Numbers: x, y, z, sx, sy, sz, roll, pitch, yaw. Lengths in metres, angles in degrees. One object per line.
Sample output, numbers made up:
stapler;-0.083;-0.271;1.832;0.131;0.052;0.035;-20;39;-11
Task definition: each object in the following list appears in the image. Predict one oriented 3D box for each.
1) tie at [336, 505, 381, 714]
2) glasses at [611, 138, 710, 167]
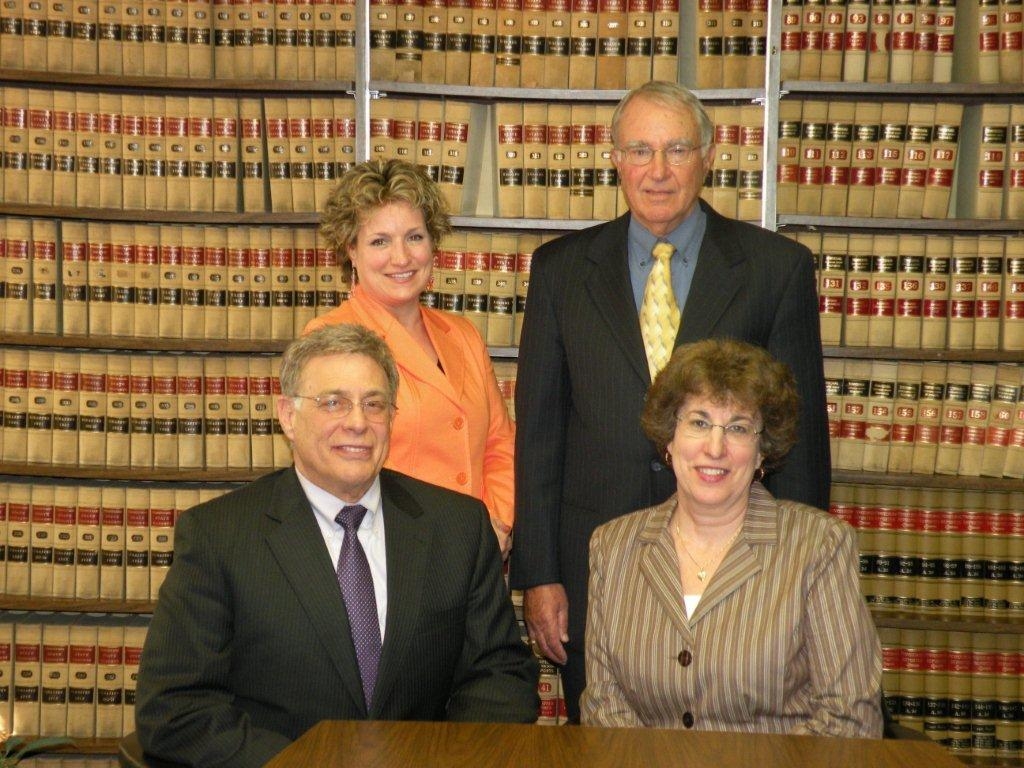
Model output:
tie;-0.440;0.638;4.348;0.117;0.584;0.079;-2;-9;-6
glasses;0.458;-0.710;4.691;0.303;0.101;0.134;-2;-8;5
